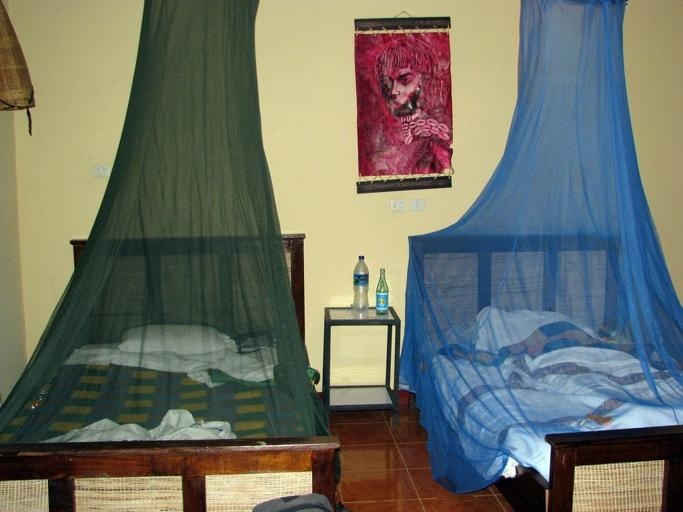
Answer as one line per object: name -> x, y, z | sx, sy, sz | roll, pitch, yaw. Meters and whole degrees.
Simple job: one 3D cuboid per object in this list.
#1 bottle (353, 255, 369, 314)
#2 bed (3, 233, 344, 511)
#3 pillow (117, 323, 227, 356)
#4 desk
bottle -> 0.123, 0.156, 4.504 | 0.107, 0.337, 0.109 | -2, 9, 0
bed -> -0.769, 0.513, 3.054 | 1.135, 1.682, 0.811 | -2, 4, -11
pillow -> -0.676, 0.340, 2.937 | 0.287, 0.074, 0.187 | 2, 2, -10
desk -> 0.151, 0.670, 4.510 | 0.588, 0.952, 0.596 | -1, 7, -4
